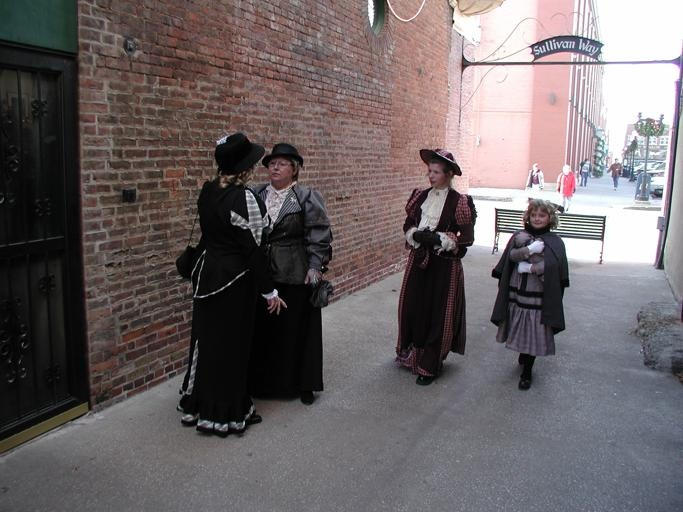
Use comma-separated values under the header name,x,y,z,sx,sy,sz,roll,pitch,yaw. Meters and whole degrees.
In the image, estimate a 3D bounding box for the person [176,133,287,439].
name,x,y,z,sx,sy,sz,roll,pitch,yaw
person,-0.932,0.268,3.849,0.837,2.461,0.420,-1,11,-9

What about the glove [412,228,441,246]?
name,x,y,z,sx,sy,sz,roll,pitch,yaw
glove,0.905,-0.174,4.918,0.275,0.192,0.148,2,11,1

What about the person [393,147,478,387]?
name,x,y,z,sx,sy,sz,roll,pitch,yaw
person,1.004,0.124,5.031,0.756,2.439,0.633,4,11,18

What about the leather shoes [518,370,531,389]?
name,x,y,z,sx,sy,sz,roll,pitch,yaw
leather shoes,1.944,1.329,4.968,0.080,0.113,0.253,-3,3,25

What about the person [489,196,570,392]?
name,x,y,z,sx,sy,sz,roll,pitch,yaw
person,1.992,0.401,5.001,0.769,1.952,0.577,6,12,25

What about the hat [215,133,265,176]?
name,x,y,z,sx,sy,sz,roll,pitch,yaw
hat,-0.806,-0.805,3.735,0.367,0.326,0.247,-1,11,-12

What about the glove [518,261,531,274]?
name,x,y,z,sx,sy,sz,roll,pitch,yaw
glove,1.904,0.123,4.868,0.118,0.107,0.049,-34,-34,14

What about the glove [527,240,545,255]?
name,x,y,z,sx,sy,sz,roll,pitch,yaw
glove,2.015,-0.077,4.842,0.171,0.160,0.099,-4,12,-27
